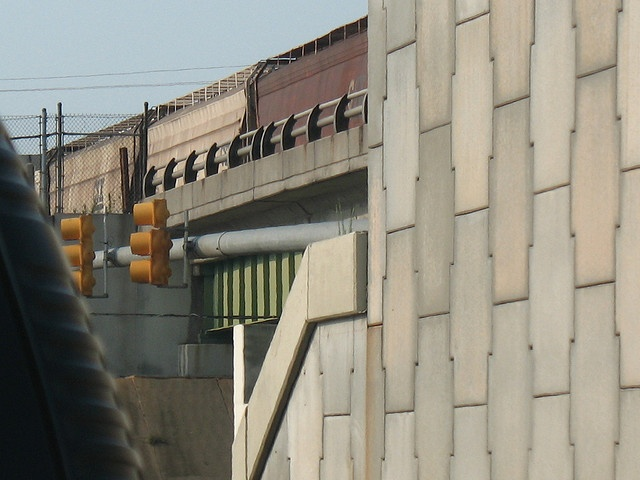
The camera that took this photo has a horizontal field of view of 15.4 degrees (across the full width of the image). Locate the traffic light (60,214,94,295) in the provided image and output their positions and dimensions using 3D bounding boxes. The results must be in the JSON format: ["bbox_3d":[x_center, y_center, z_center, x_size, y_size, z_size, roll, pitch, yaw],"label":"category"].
[{"bbox_3d":[-4.747,0.137,46.202,0.630,0.483,1.755,-11,20,-2],"label":"traffic light"}]
